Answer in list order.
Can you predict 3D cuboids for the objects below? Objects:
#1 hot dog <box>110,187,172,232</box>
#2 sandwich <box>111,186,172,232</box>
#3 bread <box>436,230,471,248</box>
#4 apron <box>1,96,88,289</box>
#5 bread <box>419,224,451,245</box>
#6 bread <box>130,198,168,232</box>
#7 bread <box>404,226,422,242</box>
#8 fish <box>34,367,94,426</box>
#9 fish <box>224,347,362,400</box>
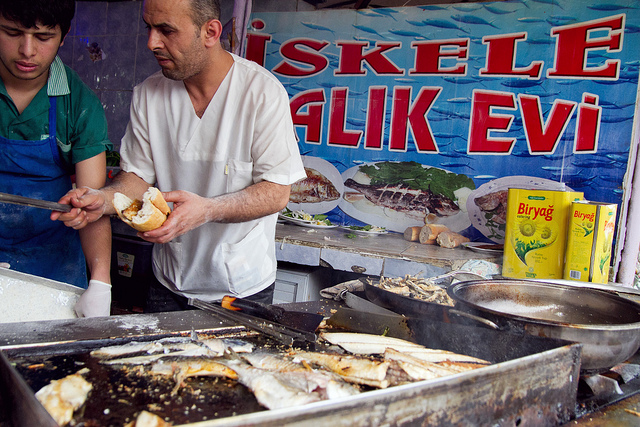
[{"bbox_3d":[-0.870,-0.005,2.175,0.235,0.229,0.096,-30,-19,-23],"label":"hot dog"},{"bbox_3d":[-0.879,-0.011,2.165,0.244,0.100,0.239,-34,72,-35],"label":"sandwich"},{"bbox_3d":[1.228,0.242,4.100,0.228,0.087,0.152,1,9,-40],"label":"bread"},{"bbox_3d":[-1.717,-0.068,2.712,0.454,1.245,0.307,-5,13,-30],"label":"apron"},{"bbox_3d":[1.077,0.174,4.165,0.245,0.195,0.191,0,8,-30],"label":"bread"},{"bbox_3d":[-0.807,0.014,2.095,0.165,0.163,0.092,-3,12,-21],"label":"bread"},{"bbox_3d":[0.885,0.196,4.286,0.165,0.124,0.137,-7,26,-12],"label":"bread"},{"bbox_3d":[-0.851,0.624,1.499,0.182,0.059,0.167,9,14,32],"label":"fish"},{"bbox_3d":[-0.032,0.591,1.611,0.340,0.057,0.216,3,12,7],"label":"fish"}]
